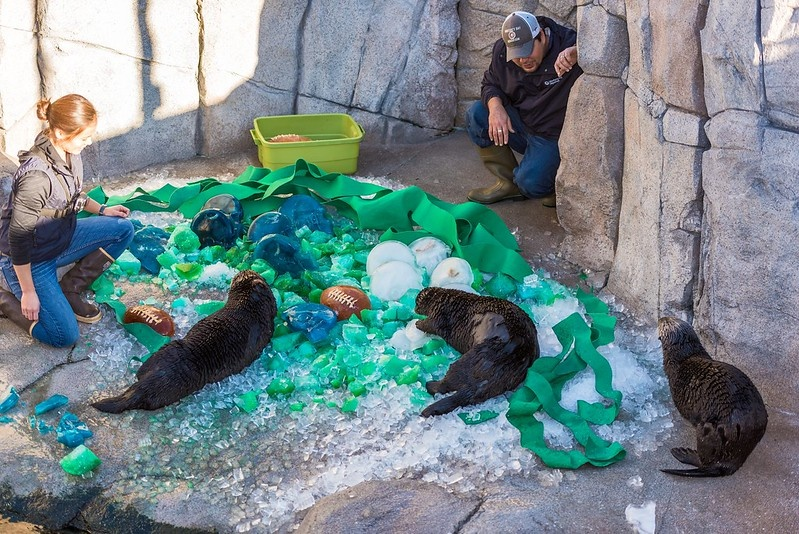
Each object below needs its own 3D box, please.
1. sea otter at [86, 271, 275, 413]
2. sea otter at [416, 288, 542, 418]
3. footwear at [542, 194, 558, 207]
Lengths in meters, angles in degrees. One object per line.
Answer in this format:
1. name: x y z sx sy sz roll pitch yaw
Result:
1. sea otter: -1.078 0.409 4.096 0.341 0.579 0.971 18 21 38
2. sea otter: 0.409 0.389 4.211 0.547 0.223 0.693 -20 34 -15
3. footwear: 1.124 -0.479 5.780 0.146 0.136 0.065 2 49 4
